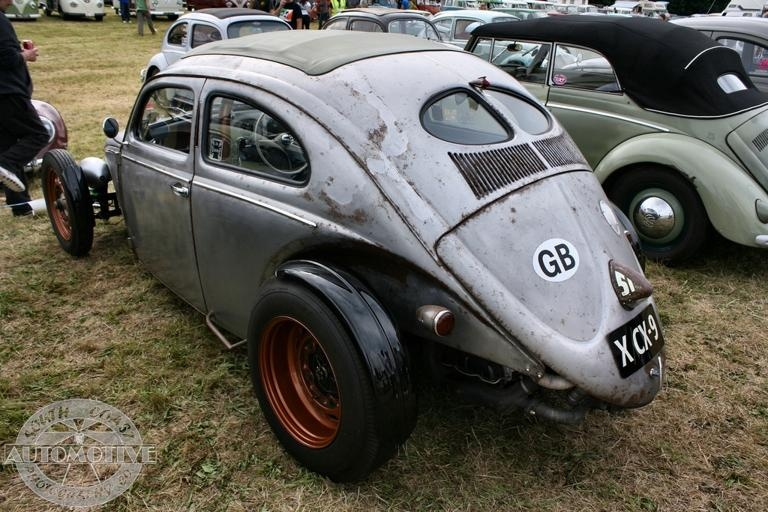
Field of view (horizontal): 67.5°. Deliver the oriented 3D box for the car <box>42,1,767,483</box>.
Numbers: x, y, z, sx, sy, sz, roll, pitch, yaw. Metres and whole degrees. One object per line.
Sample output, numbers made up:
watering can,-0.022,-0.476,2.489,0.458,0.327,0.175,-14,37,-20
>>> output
car,-0.169,-0.123,3.965,4.410,1.791,2.207,26,37,28
